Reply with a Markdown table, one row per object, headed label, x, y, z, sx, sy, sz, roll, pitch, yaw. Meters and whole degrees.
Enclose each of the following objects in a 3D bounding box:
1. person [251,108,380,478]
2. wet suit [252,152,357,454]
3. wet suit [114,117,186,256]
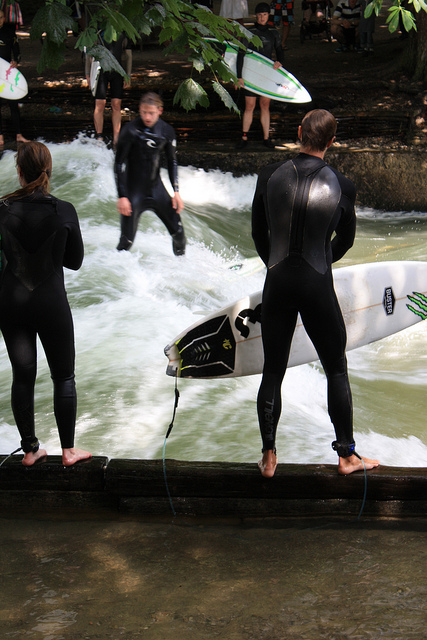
| label | x | y | z | sx | sy | sz | roll | pitch | yaw |
| --- | --- | --- | --- | --- | --- | --- | --- | --- | --- |
| person | 0.423 | -0.092 | 2.589 | 0.515 | 1.560 | 0.310 | 0 | 8 | 3 |
| wet suit | 0.392 | -0.058 | 2.600 | 0.450 | 1.296 | 0.318 | 0 | 8 | 3 |
| wet suit | -0.640 | -1.364 | 5.972 | 0.581 | 1.088 | 0.709 | -1 | 8 | -4 |
